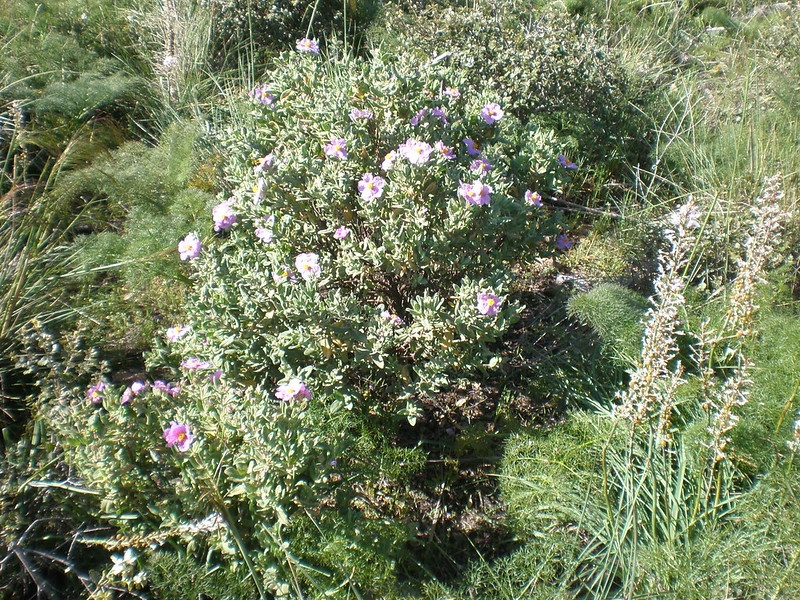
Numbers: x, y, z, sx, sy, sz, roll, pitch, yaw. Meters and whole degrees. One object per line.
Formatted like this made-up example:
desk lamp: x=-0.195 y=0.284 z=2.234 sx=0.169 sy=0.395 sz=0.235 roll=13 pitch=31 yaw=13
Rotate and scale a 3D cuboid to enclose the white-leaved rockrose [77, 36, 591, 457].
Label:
white-leaved rockrose: x=-0.205 y=-0.302 z=4.389 sx=1.876 sy=0.947 sz=2.133 roll=28 pitch=74 yaw=10
